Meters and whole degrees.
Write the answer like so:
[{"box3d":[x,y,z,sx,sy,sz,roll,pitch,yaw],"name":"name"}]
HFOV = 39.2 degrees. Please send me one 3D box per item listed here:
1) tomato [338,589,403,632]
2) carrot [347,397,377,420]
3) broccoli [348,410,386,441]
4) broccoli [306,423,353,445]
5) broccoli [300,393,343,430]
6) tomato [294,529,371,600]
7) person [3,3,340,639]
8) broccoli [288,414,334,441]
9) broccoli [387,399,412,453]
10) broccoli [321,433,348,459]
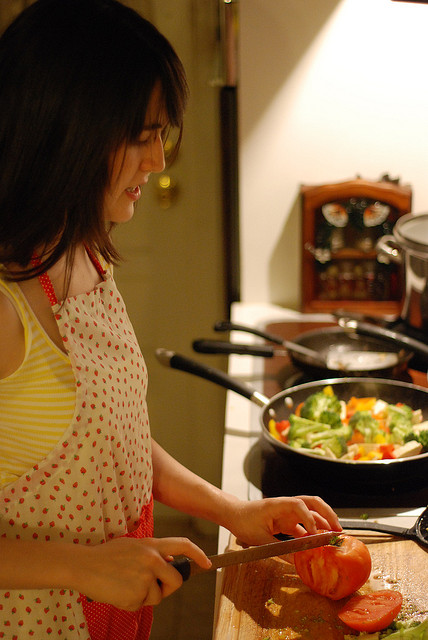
[{"box3d":[0.174,0.319,0.666,0.055,0.027,0.075,11,12,42],"name":"tomato"},{"box3d":[0.273,0.169,1.116,0.041,0.014,0.040,-26,15,5],"name":"carrot"},{"box3d":[0.262,0.178,1.014,0.037,0.019,0.056,-26,51,-12],"name":"broccoli"},{"box3d":[0.191,0.191,1.011,0.071,0.027,0.027,-12,63,-13],"name":"broccoli"},{"box3d":[0.188,0.158,1.047,0.055,0.029,0.062,6,26,4],"name":"broccoli"},{"box3d":[0.142,0.297,0.717,0.077,0.057,0.071,1,9,-14],"name":"tomato"},{"box3d":[-0.064,0.079,0.778,0.370,0.872,0.389,5,10,9],"name":"person"},{"box3d":[0.173,0.182,1.019,0.048,0.014,0.045,1,22,5],"name":"broccoli"},{"box3d":[0.311,0.190,0.995,0.042,0.021,0.080,-16,31,22],"name":"broccoli"},{"box3d":[0.192,0.204,0.967,0.036,0.016,0.035,25,55,15],"name":"broccoli"}]
